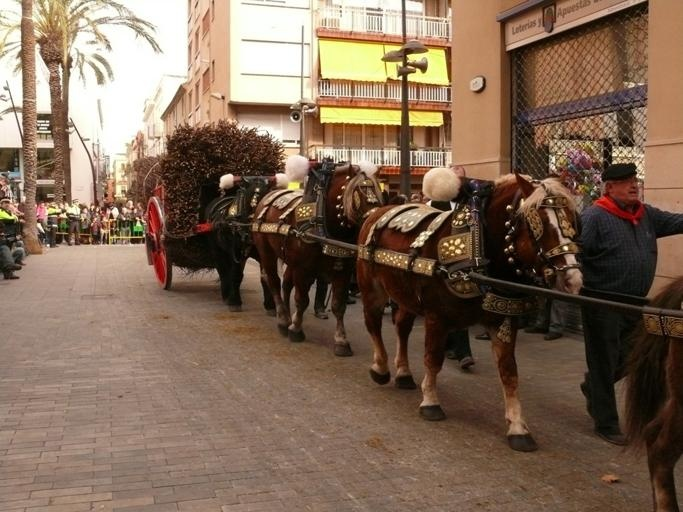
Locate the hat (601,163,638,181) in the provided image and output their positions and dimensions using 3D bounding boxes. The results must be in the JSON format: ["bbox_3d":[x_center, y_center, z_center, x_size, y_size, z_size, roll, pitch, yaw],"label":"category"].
[{"bbox_3d":[2.338,-0.689,5.810,0.258,0.144,0.228,1,7,17],"label":"hat"}]

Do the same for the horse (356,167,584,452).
[{"bbox_3d":[1.059,0.377,6.095,0.780,2.246,2.453,-5,8,-25],"label":"horse"}]

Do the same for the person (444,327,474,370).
[{"bbox_3d":[1.394,1.055,8.195,0.230,0.391,0.795,-1,0,-7],"label":"person"}]

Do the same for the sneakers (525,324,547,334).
[{"bbox_3d":[2.726,1.017,9.663,0.345,0.132,0.112,4,1,8],"label":"sneakers"}]

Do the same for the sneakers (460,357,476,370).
[{"bbox_3d":[1.446,1.219,7.859,0.094,0.095,0.210,-1,-13,-12],"label":"sneakers"}]

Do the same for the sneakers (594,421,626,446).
[{"bbox_3d":[2.251,1.491,5.781,0.106,0.093,0.253,0,0,-25],"label":"sneakers"}]

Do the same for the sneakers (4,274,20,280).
[{"bbox_3d":[-7.193,0.431,15.090,0.293,0.147,0.507,-4,7,-25],"label":"sneakers"}]

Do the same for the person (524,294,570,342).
[{"bbox_3d":[2.497,0.770,8.302,0.270,0.301,0.875,-11,0,13],"label":"person"}]

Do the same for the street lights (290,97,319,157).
[{"bbox_3d":[-1.165,-4.026,21.890,0.917,1.559,0.864,1,-1,10],"label":"street lights"}]

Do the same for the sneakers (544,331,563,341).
[{"bbox_3d":[2.826,1.076,9.230,0.264,0.093,0.093,0,1,-15],"label":"sneakers"}]

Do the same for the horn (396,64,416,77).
[{"bbox_3d":[1.256,-3.452,12.873,0.420,0.254,0.267,2,10,-10],"label":"horn"}]
